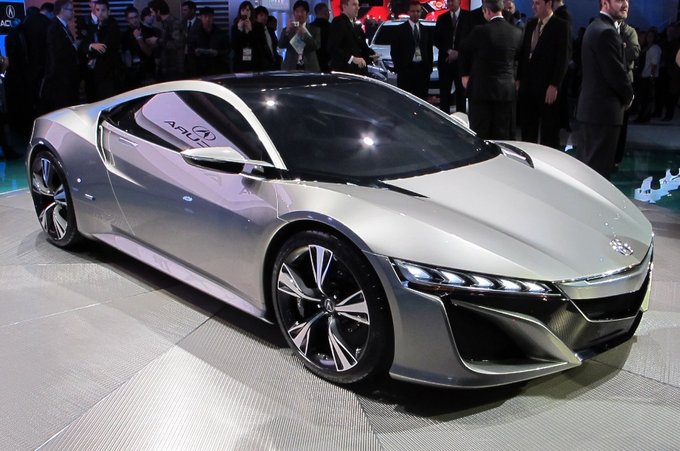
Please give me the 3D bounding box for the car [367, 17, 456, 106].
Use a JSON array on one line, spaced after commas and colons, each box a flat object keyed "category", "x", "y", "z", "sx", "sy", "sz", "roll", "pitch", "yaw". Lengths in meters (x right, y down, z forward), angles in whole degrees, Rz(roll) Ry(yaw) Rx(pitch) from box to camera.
[{"category": "car", "x": 1.469, "y": -4.054, "z": 10.344, "sx": 1.395, "sy": 1.258, "sz": 2.499, "roll": -1, "pitch": 18, "yaw": -8}]
